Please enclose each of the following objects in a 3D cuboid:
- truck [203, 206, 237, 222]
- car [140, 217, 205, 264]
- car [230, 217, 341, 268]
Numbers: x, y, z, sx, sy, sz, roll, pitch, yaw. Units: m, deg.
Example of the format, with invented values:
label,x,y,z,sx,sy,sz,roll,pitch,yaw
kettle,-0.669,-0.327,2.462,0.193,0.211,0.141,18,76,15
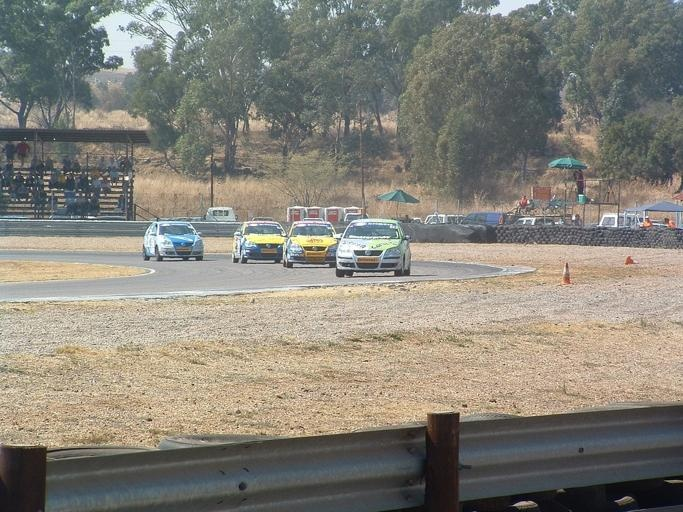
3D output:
label,x,y,z,sx,sy,sz,roll,pitch,yaw
truck,-10.536,-3.750,119.203,2.052,1.246,1.560,0,6,-7
car,-11.577,-1.124,92.801,3.192,2.674,6.001,1,-1,-25
car,-3.491,-0.957,88.710,2.836,3.043,7.867,-3,6,-44
